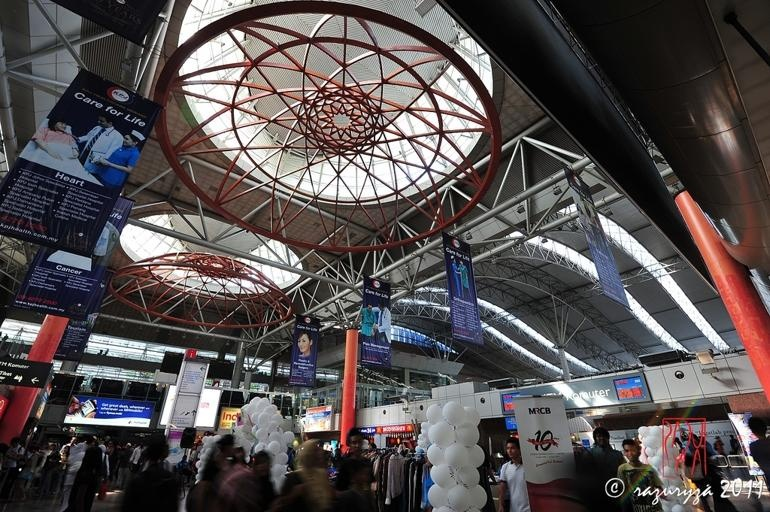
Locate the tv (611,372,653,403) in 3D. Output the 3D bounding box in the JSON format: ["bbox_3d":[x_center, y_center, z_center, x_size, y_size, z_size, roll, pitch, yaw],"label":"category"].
[{"bbox_3d":[10.732,5.695,18.330,0.132,1.282,1.331,27,-36,-27],"label":"tv"}]

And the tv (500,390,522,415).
[{"bbox_3d":[6.411,7.567,21.942,0.241,1.187,0.998,17,-32,-26],"label":"tv"}]
